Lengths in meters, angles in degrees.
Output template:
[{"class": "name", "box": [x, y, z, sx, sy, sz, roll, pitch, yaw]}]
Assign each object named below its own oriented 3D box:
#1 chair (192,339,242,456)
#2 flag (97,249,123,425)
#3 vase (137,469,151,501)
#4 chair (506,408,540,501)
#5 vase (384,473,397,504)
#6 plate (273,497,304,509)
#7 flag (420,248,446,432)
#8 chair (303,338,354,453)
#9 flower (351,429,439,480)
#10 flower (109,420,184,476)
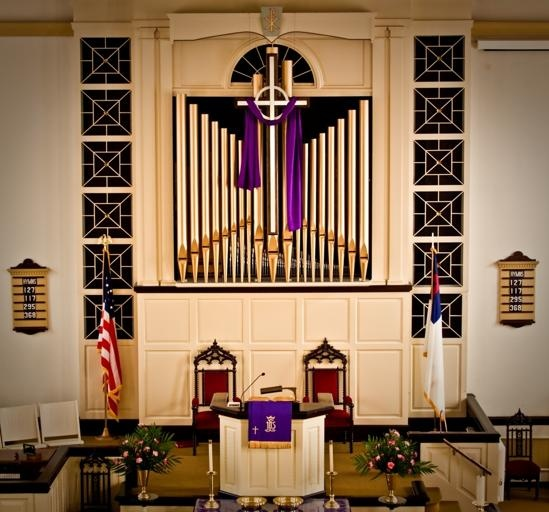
[{"class": "chair", "box": [-0.802, 1.882, 11.704, 0.611, 1.473, 0.586, 0, -1, -7]}, {"class": "flag", "box": [-2.256, 1.108, 11.939, 0.295, 2.245, 0.524, 0, 0, 9]}, {"class": "vase", "box": [-1.563, 2.688, 10.366, 0.132, 0.362, 0.455, 0, -1, -10]}, {"class": "chair", "box": [3.467, 2.756, 12.140, 0.461, 1.150, 0.735, 0, -1, 18]}, {"class": "vase", "box": [1.379, 2.693, 10.222, 0.137, 0.365, 0.417, 0, -1, 7]}, {"class": "plate", "box": [0.150, 2.754, 9.683, 0.322, 0.149, 0.298, 0, -1, 6]}, {"class": "flag", "box": [2.147, 1.101, 11.671, 0.277, 2.489, 0.775, 0, -1, 10]}, {"class": "chair", "box": [0.729, 1.862, 11.701, 0.692, 1.491, 0.565, 0, -1, 3]}, {"class": "flower", "box": [1.405, 2.360, 10.247, 0.674, 0.604, 0.763, 4, -6, -11]}, {"class": "flower", "box": [-1.526, 2.419, 10.396, 0.599, 0.467, 0.672, 0, 34, -6]}]
